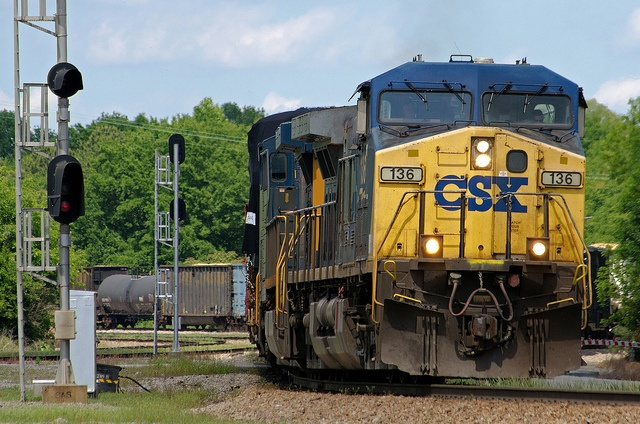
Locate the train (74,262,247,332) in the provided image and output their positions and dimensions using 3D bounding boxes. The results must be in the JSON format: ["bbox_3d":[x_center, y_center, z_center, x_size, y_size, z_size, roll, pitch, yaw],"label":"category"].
[{"bbox_3d":[-8.955,4.746,57.504,8.718,3.888,18.139,1,-6,-16],"label":"train"}]

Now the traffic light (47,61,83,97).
[{"bbox_3d":[-6.436,-3.305,25.184,0.776,0.998,0.592,0,-5,-9],"label":"traffic light"}]

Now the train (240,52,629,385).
[{"bbox_3d":[2.052,0.270,25.880,4.148,7.999,9.692,4,-7,-41],"label":"train"}]

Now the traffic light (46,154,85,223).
[{"bbox_3d":[-6.279,-0.583,24.717,0.879,1.705,0.561,1,-5,-15],"label":"traffic light"}]
